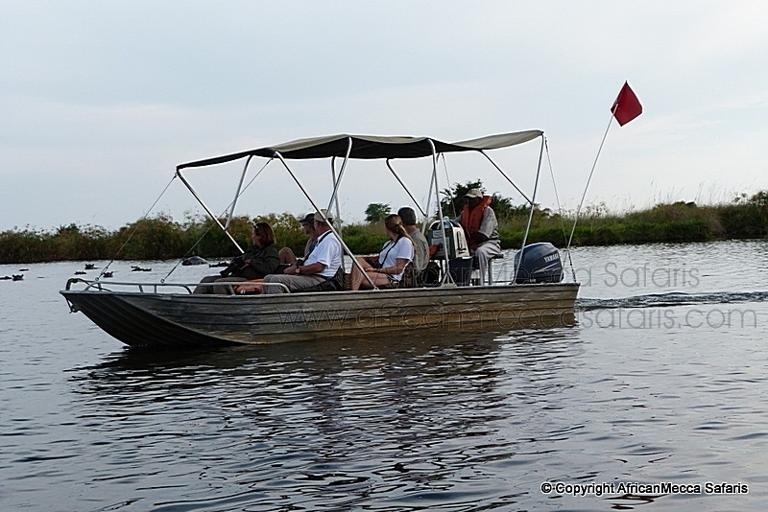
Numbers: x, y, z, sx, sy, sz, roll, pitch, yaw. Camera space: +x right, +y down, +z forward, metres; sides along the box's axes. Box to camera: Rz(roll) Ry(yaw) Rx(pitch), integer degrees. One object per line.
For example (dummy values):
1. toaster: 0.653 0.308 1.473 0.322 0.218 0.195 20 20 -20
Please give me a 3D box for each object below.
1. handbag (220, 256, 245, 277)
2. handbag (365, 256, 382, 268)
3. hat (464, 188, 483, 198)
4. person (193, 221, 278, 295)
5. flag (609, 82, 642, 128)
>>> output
1. handbag: -2.342 0.160 11.588 0.174 0.411 0.234 47 2 -37
2. handbag: -0.156 0.091 12.686 0.249 0.084 0.227 7 11 -4
3. hat: 1.658 -1.130 13.400 0.276 0.118 0.180 2 1 -18
4. person: -2.271 0.116 11.518 1.419 1.223 0.790 -5 1 -34
5. flag: 4.574 -2.825 13.872 0.370 0.769 0.460 -4 7 -13
